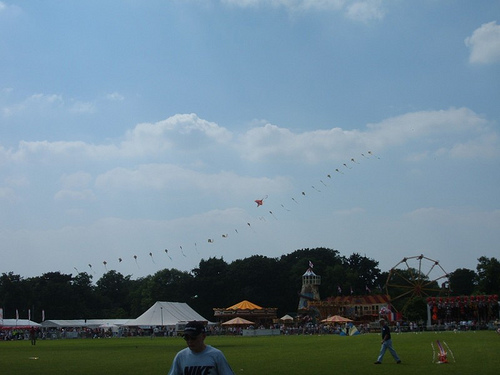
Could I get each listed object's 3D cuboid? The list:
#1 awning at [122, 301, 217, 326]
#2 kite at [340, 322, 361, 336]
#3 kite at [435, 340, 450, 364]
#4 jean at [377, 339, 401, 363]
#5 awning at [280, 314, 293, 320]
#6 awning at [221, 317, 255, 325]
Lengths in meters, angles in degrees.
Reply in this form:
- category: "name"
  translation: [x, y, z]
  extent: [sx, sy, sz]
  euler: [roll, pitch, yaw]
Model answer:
- category: "awning"
  translation: [-12.104, 19.068, 134.328]
  extent: [6.199, 4.259, 10.742]
  euler: [-14, -17, 32]
- category: "kite"
  translation: [13.837, 19.723, 121.617]
  extent: [2.534, 1.088, 2.549]
  euler: [0, -12, 5]
- category: "kite"
  translation: [17.042, 14.690, 78.918]
  extent: [1.163, 2.083, 3.248]
  euler: [-8, -15, 11]
- category: "jean"
  translation: [12.494, 14.874, 80.431]
  extent: [1.854, 2.139, 2.285]
  euler: [-7, -15, 7]
- category: "awning"
  translation: [6.391, 22.264, 150.886]
  extent: [1.839, 0.958, 2.603]
  euler: [-5, -15, 1]
- category: "awning"
  translation: [-1.532, 19.278, 128.089]
  extent: [2.698, 1.367, 5.455]
  euler: [2, -16, -23]
